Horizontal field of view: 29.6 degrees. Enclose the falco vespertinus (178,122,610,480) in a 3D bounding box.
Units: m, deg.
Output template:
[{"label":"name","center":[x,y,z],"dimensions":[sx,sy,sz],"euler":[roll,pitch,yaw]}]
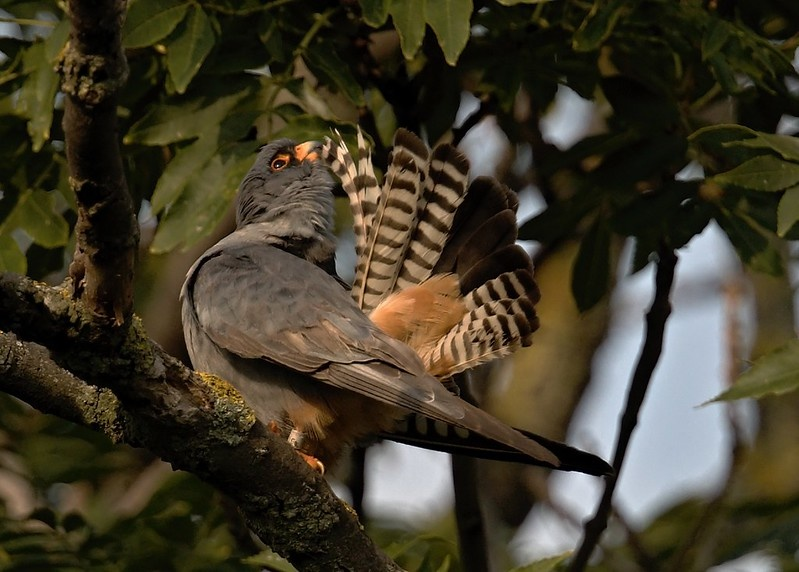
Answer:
[{"label":"falco vespertinus","center":[-0.121,0.074,8.145],"dimensions":[1.988,1.521,1.458],"euler":[23,38,8]}]
